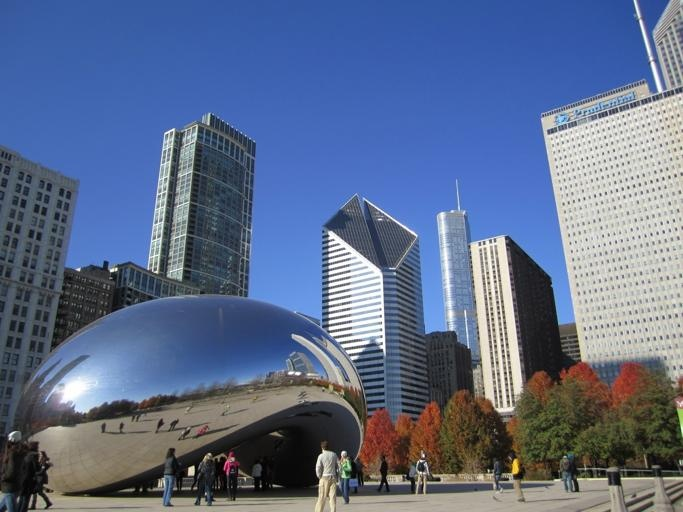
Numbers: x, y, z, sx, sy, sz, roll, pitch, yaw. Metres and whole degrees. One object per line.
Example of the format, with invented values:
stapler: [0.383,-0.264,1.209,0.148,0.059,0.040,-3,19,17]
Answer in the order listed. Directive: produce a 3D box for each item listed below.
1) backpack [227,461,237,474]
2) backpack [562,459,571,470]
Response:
backpack: [-3.518,6.822,16.253,0.241,0.349,0.122,2,-5,-10]
backpack: [9.600,8.879,21.495,0.185,0.491,0.504,6,-15,-7]
